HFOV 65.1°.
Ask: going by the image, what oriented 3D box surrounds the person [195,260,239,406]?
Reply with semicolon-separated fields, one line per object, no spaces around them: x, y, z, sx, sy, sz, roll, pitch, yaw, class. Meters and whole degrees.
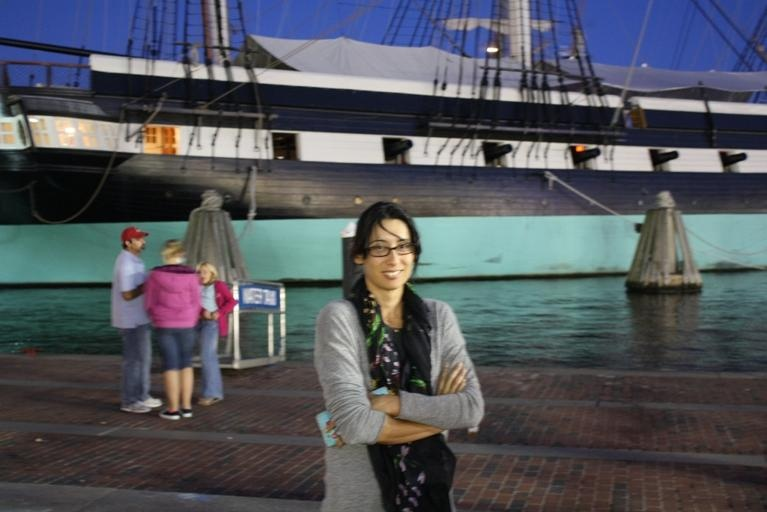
-2.210;1.001;7.739;0.615;1.764;0.464;-1;-2;5;person
